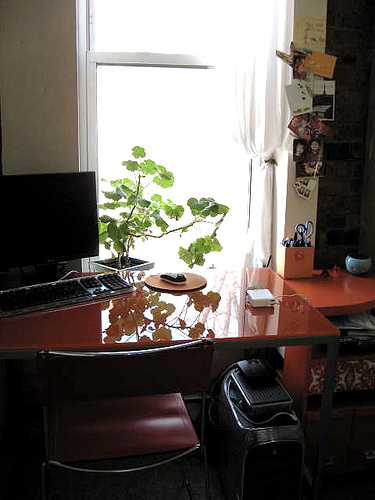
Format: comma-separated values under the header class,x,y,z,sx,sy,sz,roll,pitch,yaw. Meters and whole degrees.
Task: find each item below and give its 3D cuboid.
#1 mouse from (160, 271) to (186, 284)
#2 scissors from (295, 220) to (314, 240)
class,x,y,z,sx,sy,sz,roll,pitch,yaw
mouse,-0.055,0.104,1.618,0.104,0.037,0.053,12,10,34
scissors,0.501,-0.088,1.870,0.081,0.086,0.012,-6,4,-33
